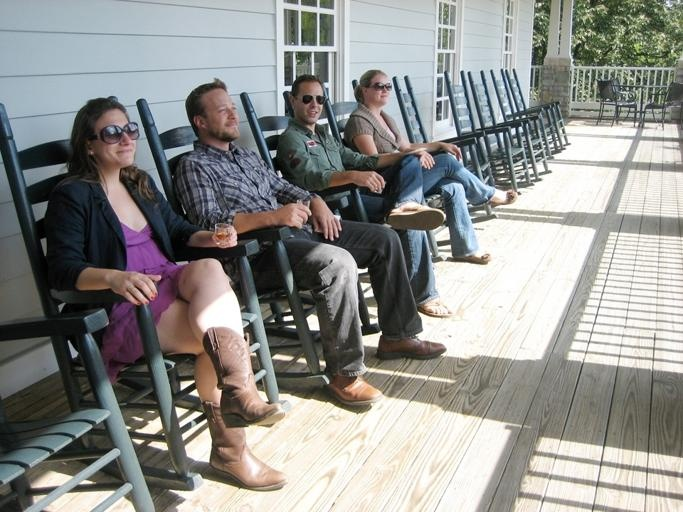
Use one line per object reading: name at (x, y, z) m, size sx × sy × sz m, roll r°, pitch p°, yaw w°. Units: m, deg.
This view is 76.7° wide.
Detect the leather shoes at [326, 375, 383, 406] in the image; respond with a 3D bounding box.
leather shoes at (0.055, 0.620, 2.081) m, size 0.261 × 0.128 × 0.111 m, roll 5°, pitch 22°, yaw 29°

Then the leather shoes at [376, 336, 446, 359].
leather shoes at (0.383, 0.501, 2.465) m, size 0.397 × 0.170 × 0.134 m, roll -2°, pitch 13°, yaw -3°

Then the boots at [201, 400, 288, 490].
boots at (-0.345, 0.703, 1.596) m, size 0.340 × 0.331 × 0.139 m, roll 11°, pitch 16°, yaw 20°

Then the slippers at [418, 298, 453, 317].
slippers at (0.618, 0.317, 2.830) m, size 0.200 × 0.073 × 0.114 m, roll 8°, pitch 23°, yaw 38°

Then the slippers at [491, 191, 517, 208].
slippers at (1.521, -0.543, 4.058) m, size 0.219 × 0.101 × 0.226 m, roll -2°, pitch 29°, yaw 36°

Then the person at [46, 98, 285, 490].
person at (-0.813, -0.081, 2.392) m, size 1.527 × 1.917 × 0.914 m, roll 4°, pitch 12°, yaw 15°

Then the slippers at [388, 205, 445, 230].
slippers at (0.467, -0.232, 2.708) m, size 0.358 × 0.154 × 0.257 m, roll 3°, pitch 5°, yaw 14°

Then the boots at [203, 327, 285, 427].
boots at (-0.308, 0.438, 1.447) m, size 0.299 × 0.394 × 0.131 m, roll 8°, pitch 23°, yaw 36°
